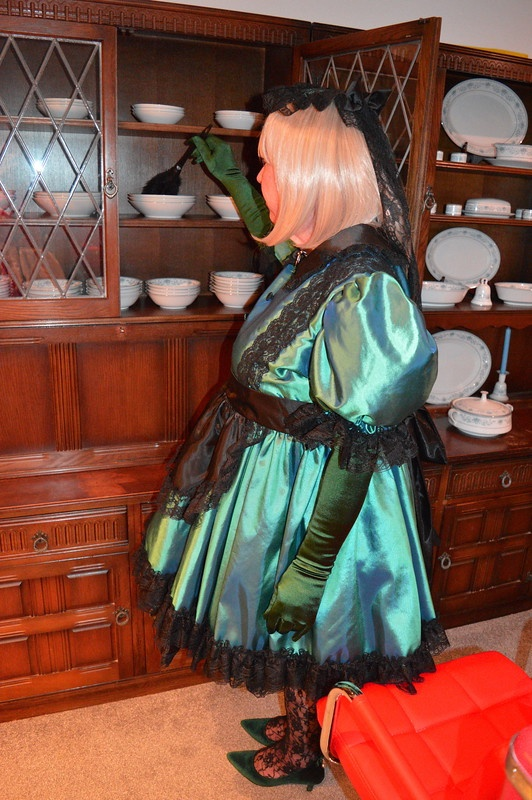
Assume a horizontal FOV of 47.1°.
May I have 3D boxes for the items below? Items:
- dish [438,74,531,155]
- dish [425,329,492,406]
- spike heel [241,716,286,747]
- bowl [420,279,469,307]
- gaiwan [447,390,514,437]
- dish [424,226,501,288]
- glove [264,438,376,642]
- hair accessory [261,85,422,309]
[{"bbox_3d":[0.719,-0.904,1.994,0.274,0.267,0.037,-27,18,-6],"label":"dish"},{"bbox_3d":[0.713,-0.136,2.310,0.351,0.336,0.056,-9,23,-12],"label":"dish"},{"bbox_3d":[-0.014,0.899,1.659,0.134,0.032,0.069,-1,20,-8],"label":"spike heel"},{"bbox_3d":[0.569,-0.346,1.983,0.151,0.052,0.147,0,18,0],"label":"bowl"},{"bbox_3d":[0.722,0.055,2.088,0.208,0.097,0.159,1,16,2],"label":"gaiwan"},{"bbox_3d":[0.692,-0.538,2.176,0.237,0.031,0.236,10,-18,-15],"label":"dish"},{"bbox_3d":[0.106,0.272,1.042,0.147,0.505,0.114,18,39,28],"label":"glove"},{"bbox_3d":[0.120,-0.363,1.122,0.259,0.337,0.221,-13,21,10],"label":"hair accessory"}]
